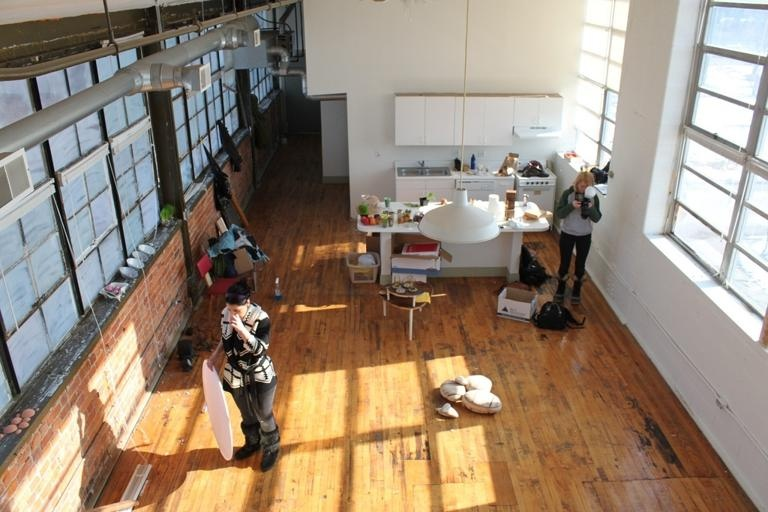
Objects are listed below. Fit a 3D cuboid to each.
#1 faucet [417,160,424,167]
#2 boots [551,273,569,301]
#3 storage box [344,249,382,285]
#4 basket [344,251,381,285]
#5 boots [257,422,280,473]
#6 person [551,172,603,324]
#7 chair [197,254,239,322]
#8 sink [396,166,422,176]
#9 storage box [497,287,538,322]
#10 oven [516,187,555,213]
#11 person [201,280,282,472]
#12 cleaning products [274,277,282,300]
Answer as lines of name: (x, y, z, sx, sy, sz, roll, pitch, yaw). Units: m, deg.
faucet: (0.714, -1.811, 9.802, 0.156, 0.162, 0.115, 0, 49, 1)
boots: (2.622, 0.419, 7.635, 0.150, 0.331, 0.475, 3, 57, 5)
storage box: (-0.336, 0.162, 8.152, 0.516, 0.337, 0.429, 1, 27, 2)
basket: (-0.331, 0.178, 8.169, 0.512, 0.338, 0.428, 0, 27, 1)
boots: (-1.193, 1.994, 5.261, 0.200, 0.303, 0.424, -1, 39, -4)
person: (2.778, -0.266, 7.382, 0.588, 1.885, 0.634, 11, 29, 22)
chair: (-2.309, 0.426, 6.925, 0.520, 0.814, 0.497, 2, 50, 1)
sink: (0.484, -1.652, 9.687, 0.363, 0.113, 0.243, -1, 25, -1)
storage box: (1.945, 0.670, 7.348, 0.483, 0.319, 0.484, 11, 26, 21)
oven: (2.834, -1.172, 9.612, 0.682, 0.692, 0.472, -2, 19, 0)
person: (-1.373, 1.198, 5.010, 0.523, 2.008, 0.509, 1, 27, 5)
cleaning products: (-1.670, 0.511, 7.881, 0.102, 0.321, 0.111, -11, 45, -17)
